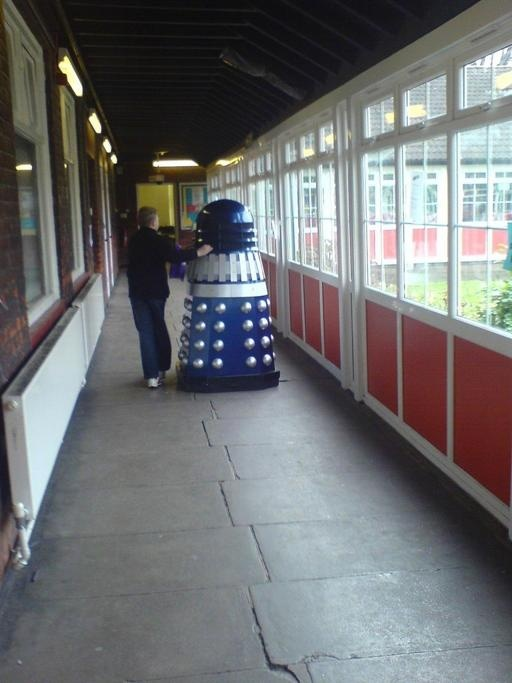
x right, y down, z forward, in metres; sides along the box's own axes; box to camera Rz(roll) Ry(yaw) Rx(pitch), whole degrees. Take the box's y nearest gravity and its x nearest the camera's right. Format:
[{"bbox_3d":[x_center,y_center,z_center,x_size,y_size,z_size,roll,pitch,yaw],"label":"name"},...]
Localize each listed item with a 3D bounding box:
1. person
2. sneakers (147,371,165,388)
[{"bbox_3d":[-0.912,-0.438,4.960,0.732,1.805,0.385,0,3,19],"label":"person"},{"bbox_3d":[-1.022,0.380,5.134,0.086,0.103,0.254,2,24,2],"label":"sneakers"}]
